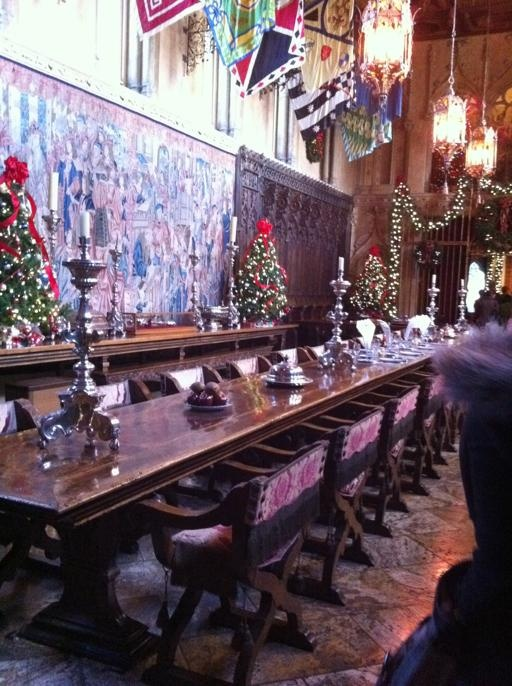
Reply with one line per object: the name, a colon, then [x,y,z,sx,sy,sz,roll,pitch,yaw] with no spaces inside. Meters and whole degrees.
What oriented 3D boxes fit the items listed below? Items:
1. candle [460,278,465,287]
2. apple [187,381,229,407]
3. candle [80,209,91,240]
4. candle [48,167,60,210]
candle: [3.714,-1.079,8.671,0.036,0.151,0.366,2,0,27]
apple: [-0.266,0.280,2.597,0.120,0.085,0.166,4,2,5]
candle: [-0.588,-0.413,1.656,0.028,0.092,0.102,2,1,-22]
candle: [-1.897,-1.413,4.520,0.076,0.349,0.226,1,1,-29]
